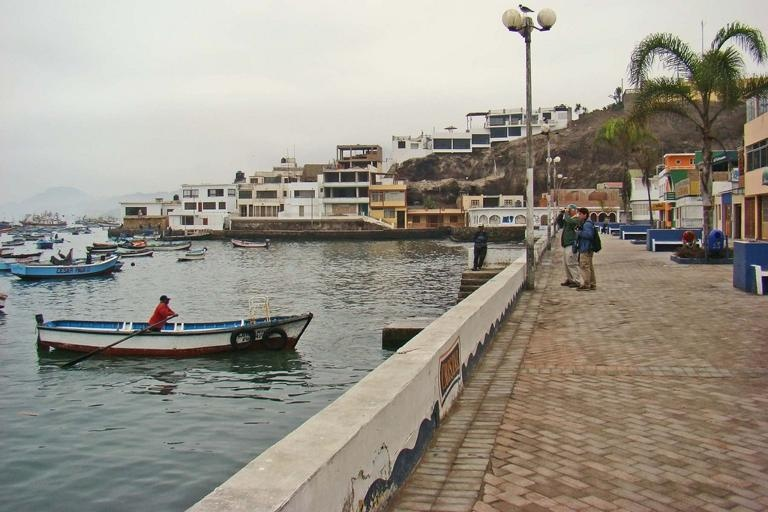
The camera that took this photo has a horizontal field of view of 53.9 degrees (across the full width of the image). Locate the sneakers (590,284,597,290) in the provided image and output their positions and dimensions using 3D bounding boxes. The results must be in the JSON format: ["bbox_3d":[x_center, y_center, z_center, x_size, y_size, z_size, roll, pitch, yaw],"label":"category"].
[{"bbox_3d":[6.517,0.934,23.605,0.191,0.139,0.187,-2,-6,11],"label":"sneakers"}]

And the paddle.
[{"bbox_3d":[-9.345,3.093,26.897,3.607,0.239,0.419,-25,-25,-24],"label":"paddle"}]

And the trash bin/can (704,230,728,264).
[{"bbox_3d":[13.358,-0.482,30.497,0.658,1.125,1.282,0,7,25],"label":"trash bin/can"}]

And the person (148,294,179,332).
[{"bbox_3d":[-7.977,2.088,27.248,0.843,1.358,0.707,16,9,20],"label":"person"}]
